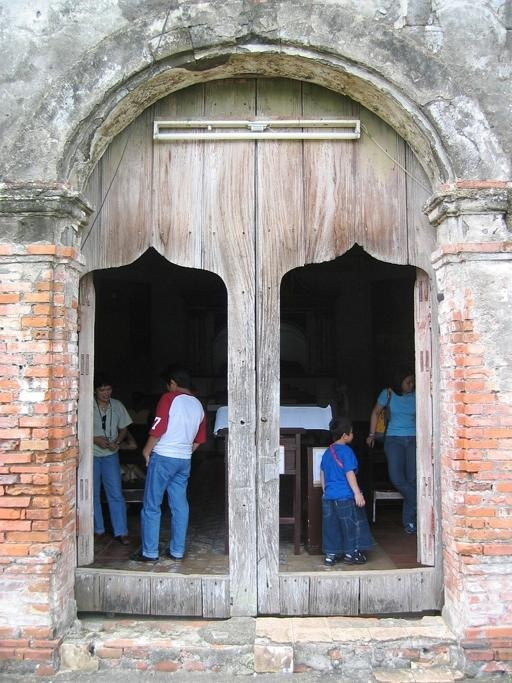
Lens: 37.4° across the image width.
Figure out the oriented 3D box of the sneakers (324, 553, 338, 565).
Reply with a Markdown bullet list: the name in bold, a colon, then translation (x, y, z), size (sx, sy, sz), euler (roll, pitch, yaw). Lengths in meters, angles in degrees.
- **sneakers**: translation (0.557, 1.605, 5.568), size (0.130, 0.073, 0.086), euler (1, -6, -16)

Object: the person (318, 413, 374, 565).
- **person**: translation (0.671, 1.119, 5.738), size (0.360, 1.068, 0.348), euler (-1, -6, 4)

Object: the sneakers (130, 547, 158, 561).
- **sneakers**: translation (-0.820, 1.554, 5.528), size (0.232, 0.087, 0.079), euler (-2, -8, 11)

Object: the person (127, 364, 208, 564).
- **person**: translation (-0.653, 0.919, 5.764), size (0.391, 1.395, 0.591), euler (-5, -8, 34)

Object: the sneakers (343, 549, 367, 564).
- **sneakers**: translation (0.728, 1.588, 5.533), size (0.195, 0.073, 0.066), euler (7, -5, -21)

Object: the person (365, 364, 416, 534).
- **person**: translation (1.235, 0.958, 6.617), size (0.259, 1.375, 0.487), euler (4, -8, -38)
